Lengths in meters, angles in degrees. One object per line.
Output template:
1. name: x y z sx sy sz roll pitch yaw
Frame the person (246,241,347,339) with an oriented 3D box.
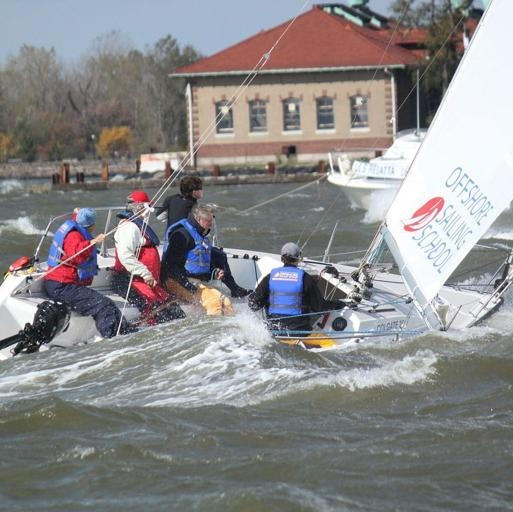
1. person: 0.267 0.270 6.842 0.607 0.750 0.454 3 15 13

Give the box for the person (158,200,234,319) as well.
1. person: -0.473 0.144 7.600 0.636 1.063 0.521 10 10 9

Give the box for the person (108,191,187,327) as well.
1. person: -0.836 0.075 7.548 0.632 1.093 0.508 0 14 -21

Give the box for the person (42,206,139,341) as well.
1. person: -1.216 0.176 7.180 0.712 1.051 0.584 -2 8 -8

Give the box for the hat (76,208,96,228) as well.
1. hat: -1.260 -0.282 7.179 0.139 0.107 0.137 4 40 -13

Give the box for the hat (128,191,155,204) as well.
1. hat: -0.893 -0.461 7.487 0.165 0.086 0.116 23 18 9
